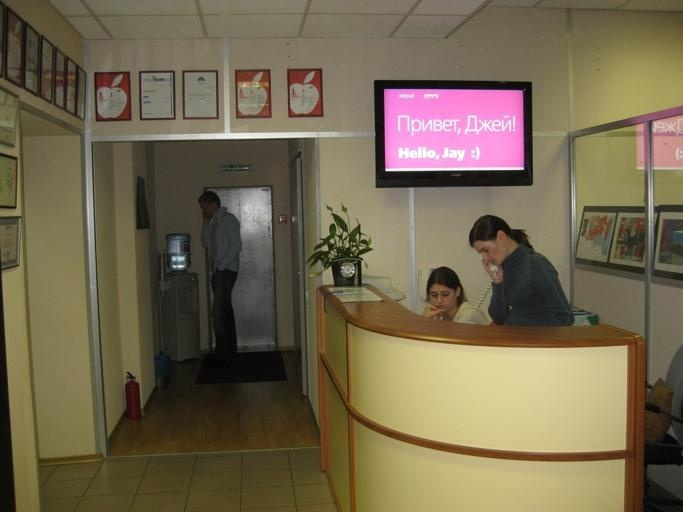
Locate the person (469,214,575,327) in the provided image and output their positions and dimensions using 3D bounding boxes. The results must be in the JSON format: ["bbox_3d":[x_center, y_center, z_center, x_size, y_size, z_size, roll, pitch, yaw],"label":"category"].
[{"bbox_3d":[1.567,0.137,4.935,0.415,0.928,0.858,-6,10,-33],"label":"person"}]

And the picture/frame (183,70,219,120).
[{"bbox_3d":[-1.231,-1.393,4.869,0.306,0.412,0.016,-9,35,-27],"label":"picture/frame"}]

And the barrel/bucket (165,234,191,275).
[{"bbox_3d":[-2.205,-0.061,7.540,0.303,0.495,0.320,3,11,0],"label":"barrel/bucket"}]

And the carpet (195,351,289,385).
[{"bbox_3d":[-1.283,1.402,7.191,1.263,0.037,1.248,4,10,7],"label":"carpet"}]

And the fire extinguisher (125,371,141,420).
[{"bbox_3d":[-2.070,1.368,5.526,0.140,0.475,0.132,-3,8,-19],"label":"fire extinguisher"}]

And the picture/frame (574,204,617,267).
[{"bbox_3d":[2.273,-0.192,4.942,0.448,0.498,0.008,3,3,-14],"label":"picture/frame"}]

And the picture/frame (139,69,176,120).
[{"bbox_3d":[-1.606,-1.412,4.849,0.385,0.548,0.018,0,7,-2],"label":"picture/frame"}]

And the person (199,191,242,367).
[{"bbox_3d":[-1.558,0.273,7.272,0.448,2.187,0.549,-3,8,-20],"label":"person"}]

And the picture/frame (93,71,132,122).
[{"bbox_3d":[-1.989,-1.392,4.831,0.380,0.562,0.036,0,2,-6],"label":"picture/frame"}]

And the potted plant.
[{"bbox_3d":[0.012,-0.071,4.609,0.588,0.728,0.588,-1,5,-9],"label":"potted plant"}]

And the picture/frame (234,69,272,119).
[{"bbox_3d":[-0.789,-1.429,4.890,0.382,0.544,0.037,-1,5,-1],"label":"picture/frame"}]
